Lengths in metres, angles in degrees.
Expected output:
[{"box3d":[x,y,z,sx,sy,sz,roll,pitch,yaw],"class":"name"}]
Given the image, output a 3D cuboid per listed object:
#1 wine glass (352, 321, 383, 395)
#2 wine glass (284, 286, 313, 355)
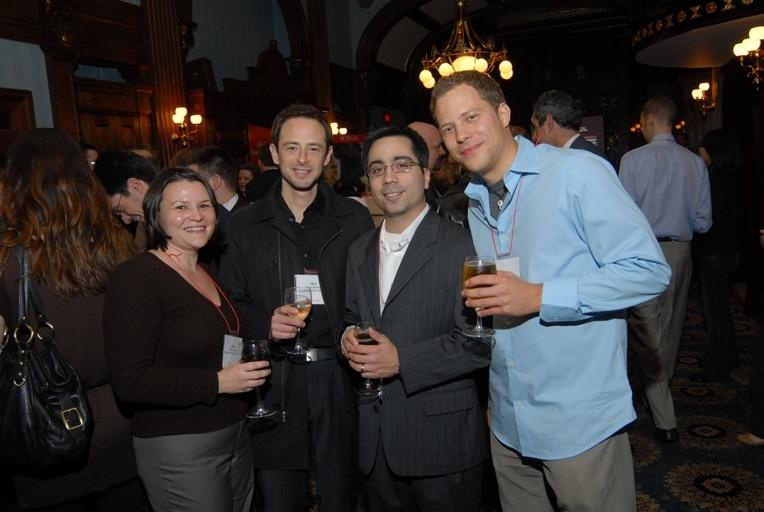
[{"box3d":[-0.074,0.517,2.738,0.121,0.394,0.264,-4,8,-4],"class":"wine glass"},{"box3d":[-0.428,0.341,2.827,0.141,0.366,0.221,-4,8,-8],"class":"wine glass"}]
